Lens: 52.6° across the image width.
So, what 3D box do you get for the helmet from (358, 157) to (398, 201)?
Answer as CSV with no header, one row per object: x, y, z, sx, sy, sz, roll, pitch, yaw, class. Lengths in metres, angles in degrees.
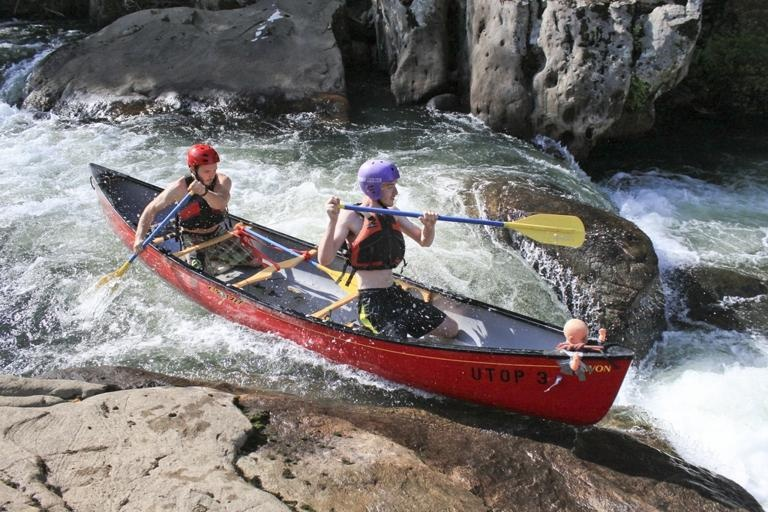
-0.087,-0.997,10.184,0.570,0.425,0.433,-1,23,2,helmet

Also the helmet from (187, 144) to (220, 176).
-2.655,-1.426,11.336,0.484,0.423,0.353,-1,22,19,helmet

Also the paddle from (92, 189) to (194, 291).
-3.697,-0.201,12.058,0.355,2.517,0.113,46,20,-15,paddle
